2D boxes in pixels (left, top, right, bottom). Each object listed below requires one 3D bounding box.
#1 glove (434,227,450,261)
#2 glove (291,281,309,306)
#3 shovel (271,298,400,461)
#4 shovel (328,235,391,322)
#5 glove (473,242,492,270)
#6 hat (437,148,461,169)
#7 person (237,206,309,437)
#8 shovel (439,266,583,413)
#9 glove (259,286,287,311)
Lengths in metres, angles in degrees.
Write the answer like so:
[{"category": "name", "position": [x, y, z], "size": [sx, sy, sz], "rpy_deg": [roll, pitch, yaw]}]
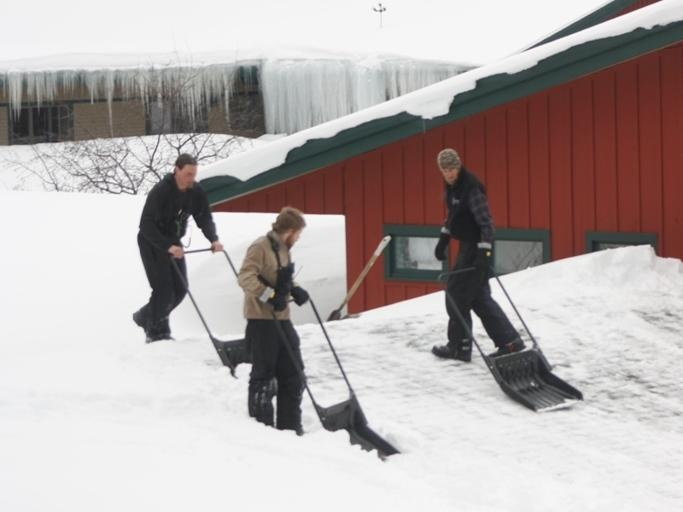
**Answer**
[{"category": "glove", "position": [1.298, -0.180, 13.829], "size": [0.127, 0.459, 0.114], "rpy_deg": [21, -15, -40]}, {"category": "glove", "position": [-0.450, 0.405, 11.596], "size": [0.080, 0.240, 0.166], "rpy_deg": [-25, 24, -37]}, {"category": "shovel", "position": [-0.004, 1.763, 11.608], "size": [0.726, 2.647, 0.384], "rpy_deg": [-16, -12, -31]}, {"category": "shovel", "position": [0.282, 0.363, 16.273], "size": [0.192, 1.564, 0.321], "rpy_deg": [-16, 57, -38]}, {"category": "glove", "position": [1.706, -0.010, 12.637], "size": [0.262, 0.440, 0.270], "rpy_deg": [-1, -4, 16]}, {"category": "hat", "position": [1.261, -1.156, 12.684], "size": [0.239, 0.268, 0.321], "rpy_deg": [-5, -9, 6]}, {"category": "person", "position": [-0.723, 0.700, 11.536], "size": [0.740, 2.439, 0.478], "rpy_deg": [-4, 8, -7]}, {"category": "shovel", "position": [1.724, 0.975, 12.760], "size": [0.824, 1.311, 2.473], "rpy_deg": [-16, 22, -24]}, {"category": "glove", "position": [-0.718, 0.430, 11.421], "size": [0.183, 0.220, 0.281], "rpy_deg": [-54, 25, -23]}]
